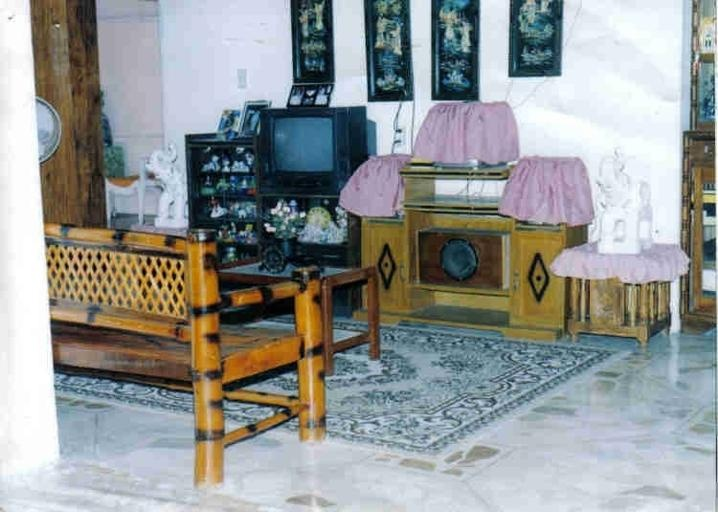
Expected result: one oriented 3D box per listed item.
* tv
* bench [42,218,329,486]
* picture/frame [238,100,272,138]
[{"bbox_3d":[-0.308,-0.936,9.217,1.077,0.812,0.586,4,6,29],"label":"tv"},{"bbox_3d":[-1.304,0.400,6.151,2.188,1.192,1.037,5,6,39],"label":"bench"},{"bbox_3d":[-0.944,-1.336,9.828,0.101,0.349,0.417,15,-10,-42],"label":"picture/frame"}]
